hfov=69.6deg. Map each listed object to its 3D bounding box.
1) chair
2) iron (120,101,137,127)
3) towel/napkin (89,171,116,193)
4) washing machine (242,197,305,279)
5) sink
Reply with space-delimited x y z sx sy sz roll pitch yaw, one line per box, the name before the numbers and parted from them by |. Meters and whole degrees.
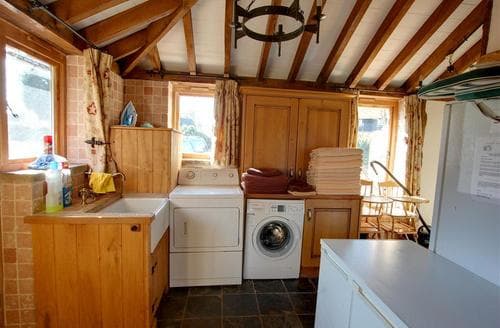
chair | 2.125 0.698 5.449 1.154 0.899 0.886 1 3 -4
iron | -1.556 -0.652 4.598 0.197 0.324 0.187 0 4 -20
towel/napkin | -1.655 0.203 4.037 0.254 0.231 0.145 -2 4 -37
washing machine | 0.279 0.961 4.813 0.986 1.298 0.917 1 -2 -6
sink | -1.198 0.573 4.046 0.453 0.316 0.828 3 7 -3
